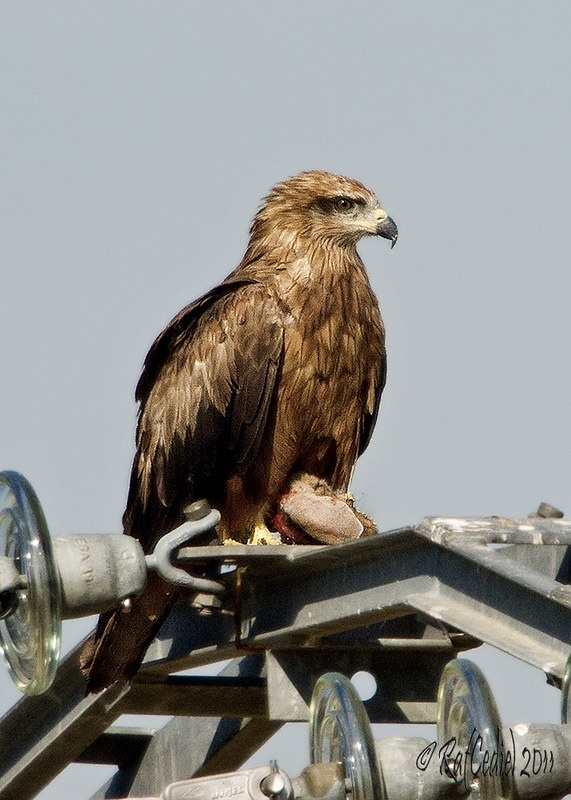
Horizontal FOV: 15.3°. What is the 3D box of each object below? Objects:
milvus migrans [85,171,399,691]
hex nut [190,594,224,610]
[{"bbox_3d":[-0.247,0.187,8.176,1.401,2.071,0.869,-12,-20,35],"label":"milvus migrans"},{"bbox_3d":[-0.272,0.663,7.060,0.061,0.036,0.088,2,-2,13],"label":"hex nut"}]
